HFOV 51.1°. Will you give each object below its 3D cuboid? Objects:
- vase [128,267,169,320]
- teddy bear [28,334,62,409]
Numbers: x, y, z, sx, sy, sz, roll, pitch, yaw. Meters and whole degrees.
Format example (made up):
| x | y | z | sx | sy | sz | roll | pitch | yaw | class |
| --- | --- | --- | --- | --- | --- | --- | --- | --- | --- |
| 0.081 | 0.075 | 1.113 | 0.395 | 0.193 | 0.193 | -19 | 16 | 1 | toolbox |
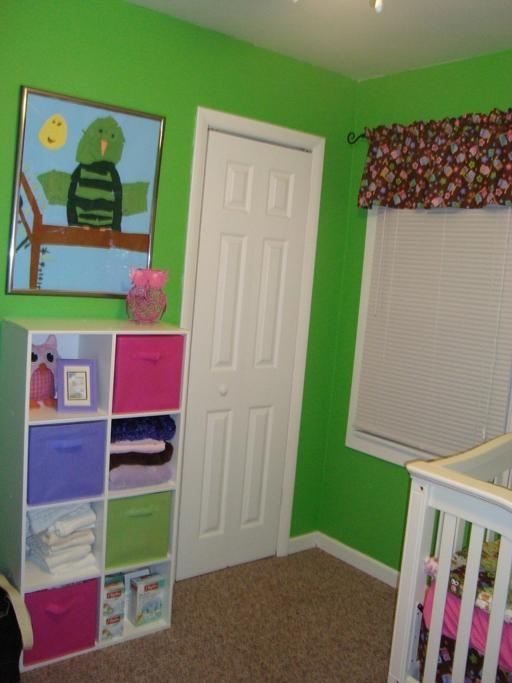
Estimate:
| x | y | z | sx | sy | sz | roll | pitch | yaw | class |
| --- | --- | --- | --- | --- | --- | --- | --- | --- | --- |
| -0.427 | -0.183 | 2.090 | 0.147 | 0.222 | 0.153 | 8 | 16 | 13 | vase |
| -0.775 | 0.106 | 1.930 | 0.136 | 0.256 | 0.123 | 2 | 1 | -36 | teddy bear |
